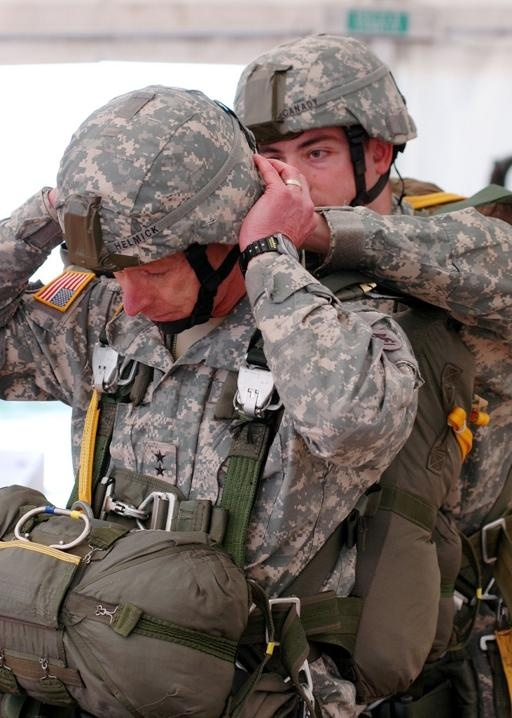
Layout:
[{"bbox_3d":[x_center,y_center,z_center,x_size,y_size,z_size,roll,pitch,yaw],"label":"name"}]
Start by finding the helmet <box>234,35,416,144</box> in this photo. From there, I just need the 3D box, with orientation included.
[{"bbox_3d":[0.241,-0.799,2.326,0.519,0.290,0.499,5,19,31],"label":"helmet"}]

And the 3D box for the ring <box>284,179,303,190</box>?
[{"bbox_3d":[0.080,-0.377,1.554,0.027,0.027,0.029,5,-2,0],"label":"ring"}]
